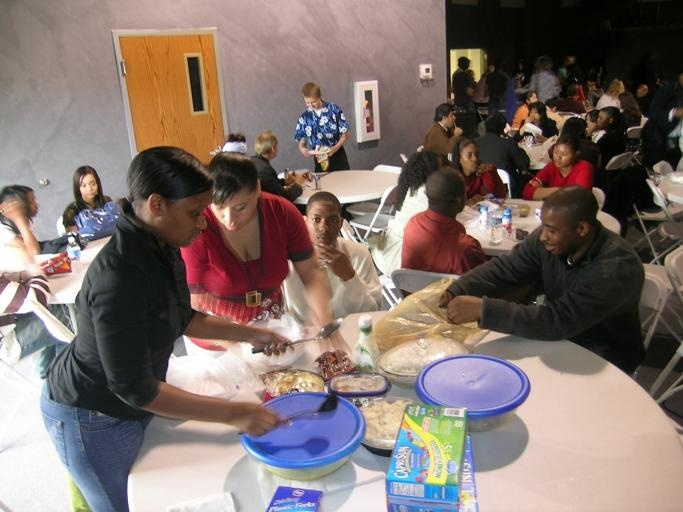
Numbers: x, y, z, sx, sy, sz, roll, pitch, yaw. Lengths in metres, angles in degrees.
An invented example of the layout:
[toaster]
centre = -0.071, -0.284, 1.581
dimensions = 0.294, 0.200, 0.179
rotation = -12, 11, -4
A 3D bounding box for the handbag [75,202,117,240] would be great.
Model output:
[handbag]
centre = -1.934, -0.265, 3.704
dimensions = 0.335, 0.295, 0.173
rotation = -23, 24, -39

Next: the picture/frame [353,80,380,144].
[picture/frame]
centre = 0.345, -2.087, 6.823
dimensions = 0.107, 0.954, 0.663
rotation = 8, 20, 33

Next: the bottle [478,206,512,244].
[bottle]
centre = 1.134, -0.222, 3.501
dimensions = 0.237, 0.333, 0.312
rotation = 0, 2, -11

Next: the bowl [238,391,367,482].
[bowl]
centre = -0.100, 0.565, 1.376
dimensions = 0.279, 0.082, 0.291
rotation = -3, 0, 0
